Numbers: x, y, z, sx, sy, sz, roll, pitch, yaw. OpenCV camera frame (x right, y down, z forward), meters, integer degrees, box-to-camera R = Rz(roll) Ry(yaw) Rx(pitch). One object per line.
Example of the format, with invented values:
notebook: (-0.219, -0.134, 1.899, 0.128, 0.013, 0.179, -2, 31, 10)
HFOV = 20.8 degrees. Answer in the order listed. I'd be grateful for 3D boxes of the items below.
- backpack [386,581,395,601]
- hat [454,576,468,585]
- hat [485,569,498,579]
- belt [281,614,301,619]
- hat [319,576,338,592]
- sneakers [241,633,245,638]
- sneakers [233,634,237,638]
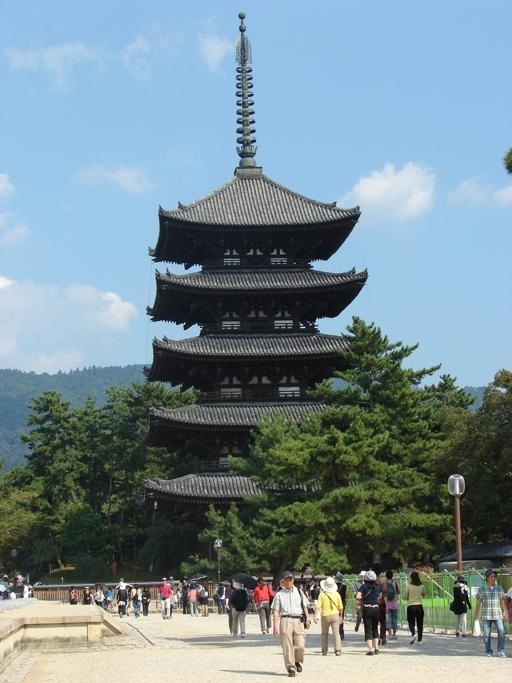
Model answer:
backpack: (3.569, 6.588, 37.033, 0.349, 0.530, 0.281, 8, -12, -36)
hat: (5.355, 6.176, 36.409, 0.302, 0.180, 0.446, 1, -3, 1)
hat: (5.487, 5.416, 32.412, 0.216, 0.261, 0.261, 1, -25, 0)
belt: (0.748, 5.978, 30.511, 0.432, 0.101, 0.163, 1, -14, -3)
hat: (1.719, 5.747, 33.250, 0.370, 0.363, 0.558, 0, -14, 4)
sneakers: (-0.393, 8.251, 39.321, 0.123, 0.124, 0.067, -2, -20, 13)
sneakers: (-0.605, 8.310, 39.718, 0.129, 0.132, 0.130, 3, 6, 40)
